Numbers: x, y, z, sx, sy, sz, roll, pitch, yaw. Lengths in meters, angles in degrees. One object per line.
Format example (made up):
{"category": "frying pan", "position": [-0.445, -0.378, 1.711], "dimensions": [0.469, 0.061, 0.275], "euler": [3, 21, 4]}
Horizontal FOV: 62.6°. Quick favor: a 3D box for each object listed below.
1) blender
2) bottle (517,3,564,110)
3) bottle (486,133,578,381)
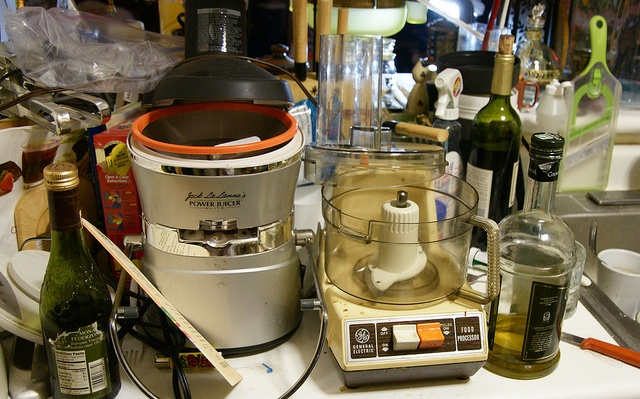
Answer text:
{"category": "blender", "position": [0.163, 0.141, 1.157], "dimensions": [0.344, 0.329, 0.455], "euler": [-4, 22, -12]}
{"category": "bottle", "position": [0.642, -0.412, 1.537], "dimensions": [0.122, 0.297, 0.323], "euler": [7, 23, 23]}
{"category": "bottle", "position": [0.419, 0.156, 1.036], "dimensions": [0.144, 0.365, 0.167], "euler": [6, 23, 19]}
